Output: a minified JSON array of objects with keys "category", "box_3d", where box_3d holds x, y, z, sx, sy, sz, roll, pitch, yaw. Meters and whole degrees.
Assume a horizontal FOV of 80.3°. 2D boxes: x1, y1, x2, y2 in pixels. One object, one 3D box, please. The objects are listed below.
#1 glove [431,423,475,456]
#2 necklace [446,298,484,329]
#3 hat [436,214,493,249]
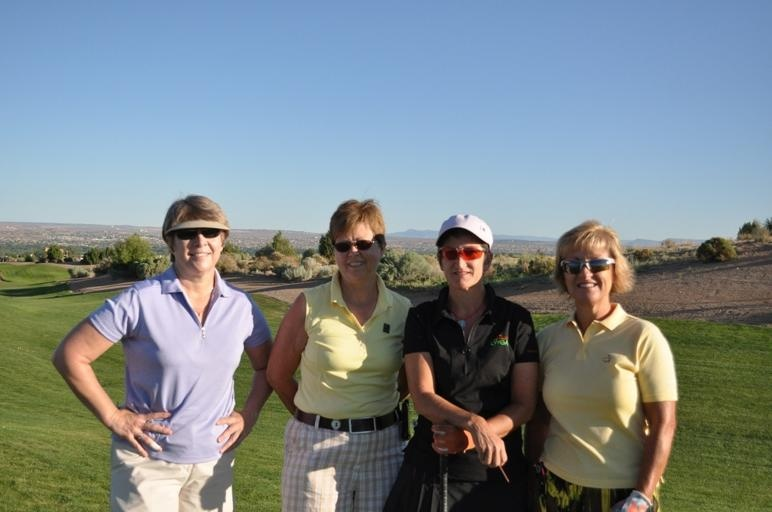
[{"category":"glove","box_3d":[0.589,1.585,3.984,0.298,0.198,0.169,8,28,3]},{"category":"necklace","box_3d":[0.763,0.543,4.363,0.221,0.306,0.271,2,38,4]},{"category":"hat","box_3d":[0.714,-0.203,4.211,0.356,0.274,0.597,-3,-18,9]}]
